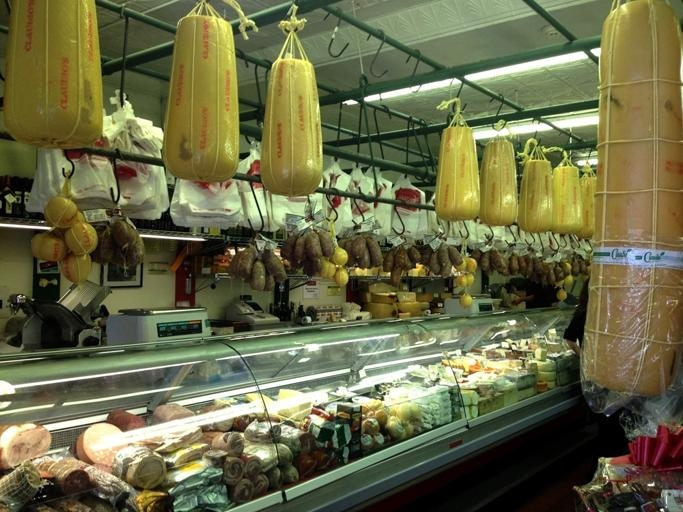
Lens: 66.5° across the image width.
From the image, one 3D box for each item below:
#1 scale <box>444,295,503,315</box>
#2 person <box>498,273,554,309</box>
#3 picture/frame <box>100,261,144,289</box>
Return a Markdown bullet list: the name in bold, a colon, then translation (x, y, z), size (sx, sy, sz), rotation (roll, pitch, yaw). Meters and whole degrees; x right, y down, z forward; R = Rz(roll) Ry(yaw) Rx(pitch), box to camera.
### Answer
- **scale**: translation (1.714, 0.652, 6.871), size (0.506, 0.217, 0.666), rotation (-2, -1, 35)
- **person**: translation (3.851, 0.797, 11.043), size (1.192, 0.359, 1.086), rotation (8, -7, -6)
- **picture/frame**: translation (-2.249, 0.206, 5.286), size (0.435, 0.273, 0.031), rotation (2, -10, -43)
